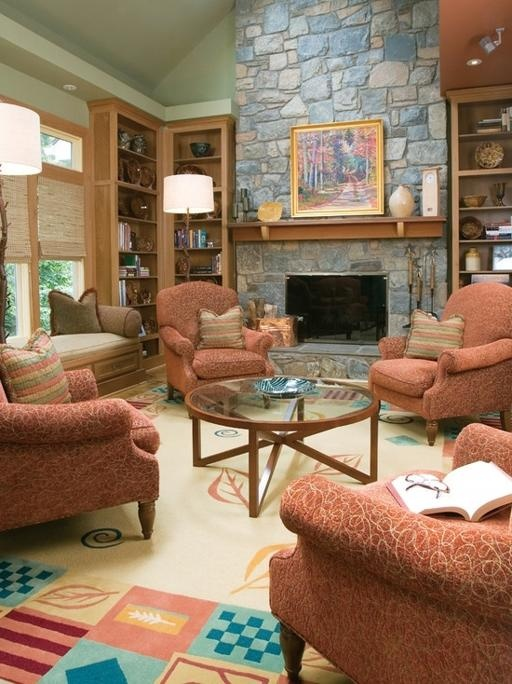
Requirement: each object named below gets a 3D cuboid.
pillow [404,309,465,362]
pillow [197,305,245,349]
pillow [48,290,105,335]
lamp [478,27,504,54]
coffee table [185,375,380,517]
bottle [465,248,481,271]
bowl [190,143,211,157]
[{"bbox_3d":[1.217,-0.037,3.626,0.407,0.377,0.153,6,-19,40],"label":"pillow"},{"bbox_3d":[-0.294,-0.111,4.210,0.364,0.328,0.138,0,-21,-2],"label":"pillow"},{"bbox_3d":[-1.635,-0.254,4.818,0.432,0.412,0.168,-10,2,-37],"label":"pillow"},{"bbox_3d":[1.673,-2.115,3.763,0.211,0.170,0.108,-9,17,-15],"label":"lamp"},{"bbox_3d":[0.097,0.385,2.576,0.696,0.282,0.663,1,7,5],"label":"coffee table"},{"bbox_3d":[2.072,-0.778,5.107,0.142,0.221,0.241,1,7,21],"label":"bottle"},{"bbox_3d":[-0.621,-2.131,5.980,0.206,0.128,0.202,0,6,0],"label":"bowl"}]
